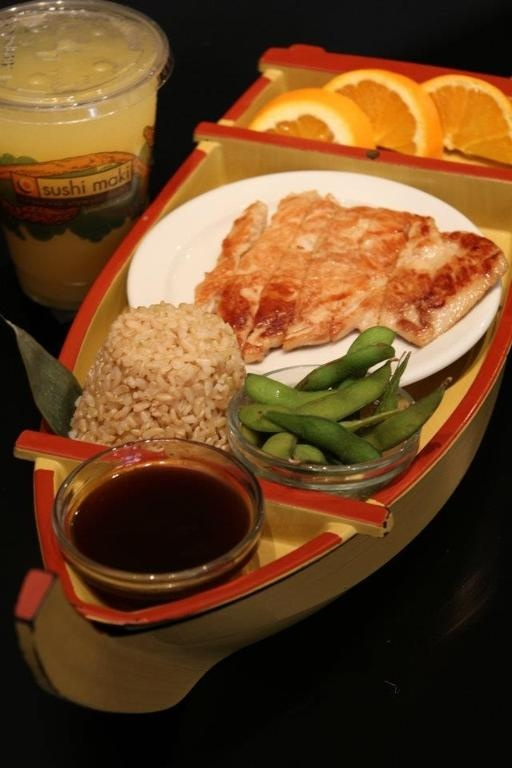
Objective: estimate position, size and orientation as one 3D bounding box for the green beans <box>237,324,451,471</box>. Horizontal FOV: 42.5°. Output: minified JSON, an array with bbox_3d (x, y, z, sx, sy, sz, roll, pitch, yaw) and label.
[{"bbox_3d":[0.057,-0.009,0.538,0.130,0.061,0.124,-5,12,-10],"label":"green beans"}]

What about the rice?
[{"bbox_3d":[-0.089,-0.001,0.608,0.136,0.129,0.131,8,43,-10],"label":"rice"}]

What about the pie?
[{"bbox_3d":[0.082,-0.148,0.833,0.370,0.197,0.233,-14,25,-21],"label":"pie"}]

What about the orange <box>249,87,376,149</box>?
[{"bbox_3d":[0.103,-0.403,1.016,0.204,0.068,0.128,30,46,31],"label":"orange"}]
